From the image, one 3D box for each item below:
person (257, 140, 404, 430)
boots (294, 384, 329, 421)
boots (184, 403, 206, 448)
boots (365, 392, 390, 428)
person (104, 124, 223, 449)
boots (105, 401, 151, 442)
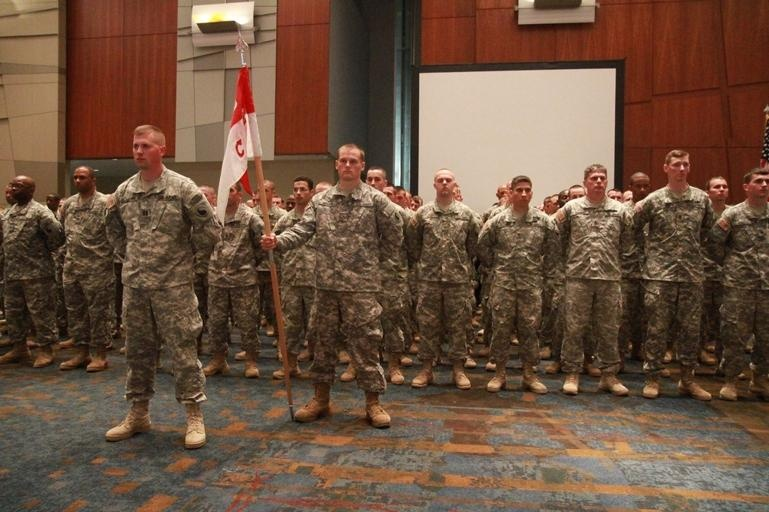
[{"bbox_3d":[-0.416,0.289,6.855,1.178,2.867,0.436,-1,3,6],"label":"person"},{"bbox_3d":[-0.745,1.507,6.880,0.213,0.357,0.454,5,4,44],"label":"boots"},{"bbox_3d":[-1.865,1.630,6.542,0.209,0.397,0.461,-2,3,-16],"label":"boots"},{"bbox_3d":[-0.071,1.569,6.824,0.215,0.310,0.542,-6,4,-15],"label":"boots"},{"bbox_3d":[-2.204,0.281,6.499,1.123,3.104,0.424,-1,3,8],"label":"person"},{"bbox_3d":[-2.546,1.618,6.517,0.207,0.293,0.516,6,6,30],"label":"boots"}]
